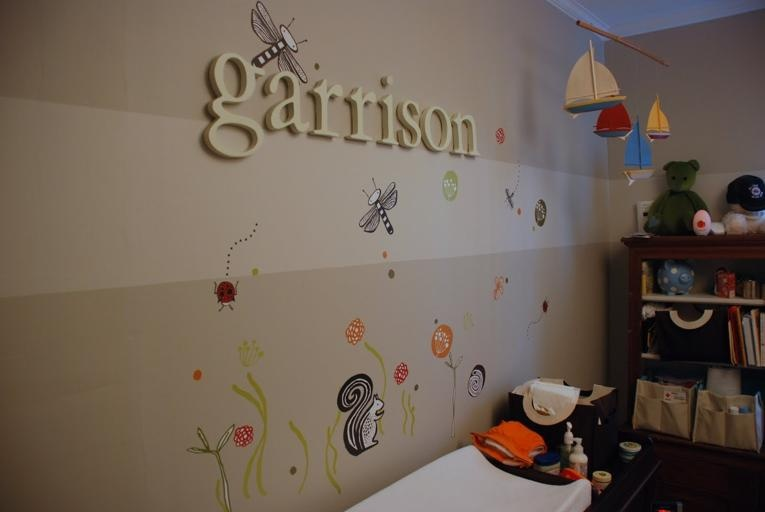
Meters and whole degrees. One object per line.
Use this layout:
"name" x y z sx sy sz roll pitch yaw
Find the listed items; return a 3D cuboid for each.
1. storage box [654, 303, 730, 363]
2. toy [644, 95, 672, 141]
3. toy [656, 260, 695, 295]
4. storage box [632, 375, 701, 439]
"storage box" 1.828 0.486 3.692 0.260 0.365 0.459 6 -7 -44
"toy" 1.703 -0.865 3.853 0.120 0.292 0.500 1 5 24
"toy" 1.802 0.125 3.854 0.158 0.219 0.221 -2 6 7
"storage box" 1.664 0.893 3.767 0.246 0.449 0.424 14 -10 -33
